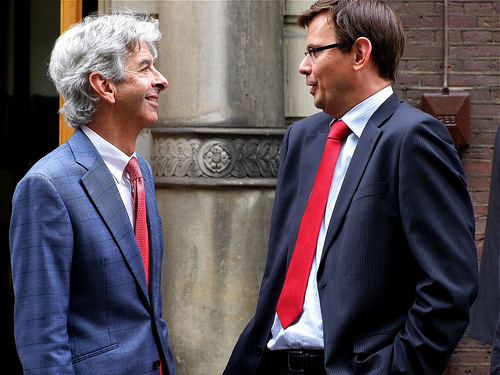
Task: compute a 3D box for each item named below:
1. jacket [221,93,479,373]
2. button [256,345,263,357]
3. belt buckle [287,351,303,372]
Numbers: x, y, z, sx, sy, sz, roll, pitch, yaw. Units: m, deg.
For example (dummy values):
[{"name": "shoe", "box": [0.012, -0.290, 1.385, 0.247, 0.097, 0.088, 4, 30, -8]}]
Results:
[{"name": "jacket", "box": [0.561, 0.325, 6.407, 1.576, 2.166, 1.026, 7, 1, 43]}, {"name": "button", "box": [0.057, 1.002, 6.380, 0.011, 0.052, 0.048, 0, -16, -40]}, {"name": "belt buckle", "box": [0.263, 1.040, 6.274, 0.104, 0.117, 0.029, 6, 1, 29]}]
